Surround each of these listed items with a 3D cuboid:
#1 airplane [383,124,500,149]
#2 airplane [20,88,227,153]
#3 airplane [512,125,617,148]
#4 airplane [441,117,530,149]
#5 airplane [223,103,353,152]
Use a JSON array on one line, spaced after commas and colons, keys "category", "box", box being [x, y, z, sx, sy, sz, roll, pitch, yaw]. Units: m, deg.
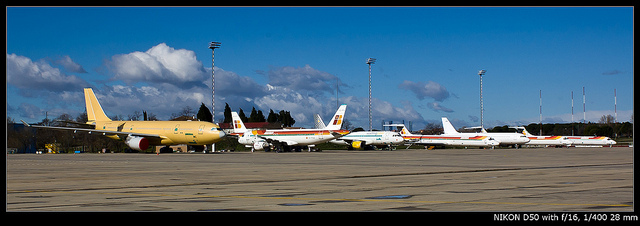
[{"category": "airplane", "box": [37.402, 7.812, 166.847, 26.497, 4.000, 20.799, -1, -1, 21]}, {"category": "airplane", "box": [-42.144, 1.889, 135.517, 46.280, 15.165, 26.848, -1, -6, 8]}, {"category": "airplane", "box": [81.185, 7.755, 188.147, 22.618, 3.412, 14.700, -1, 1, -1]}, {"category": "airplane", "box": [46.588, 7.201, 163.458, 24.383, 4.968, 14.366, 0, 5, -2]}, {"category": "airplane", "box": [-8.423, 4.278, 142.174, 24.166, 10.501, 21.219, 1, -6, -12]}]
